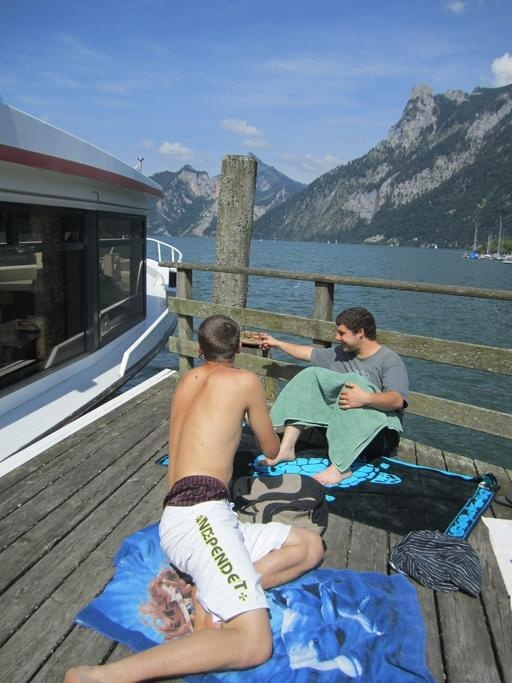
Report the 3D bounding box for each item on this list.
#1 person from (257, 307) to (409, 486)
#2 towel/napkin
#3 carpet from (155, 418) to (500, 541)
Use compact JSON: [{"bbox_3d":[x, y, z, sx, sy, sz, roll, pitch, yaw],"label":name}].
[{"bbox_3d":[0.557,0.408,3.621,0.966,1.303,0.999,7,9,12],"label":"person"},{"bbox_3d":[0.509,0.506,3.386,0.727,0.369,0.813,18,25,21],"label":"towel/napkin"},{"bbox_3d":[0.481,0.956,3.463,2.220,0.081,0.994,4,4,37],"label":"carpet"}]
